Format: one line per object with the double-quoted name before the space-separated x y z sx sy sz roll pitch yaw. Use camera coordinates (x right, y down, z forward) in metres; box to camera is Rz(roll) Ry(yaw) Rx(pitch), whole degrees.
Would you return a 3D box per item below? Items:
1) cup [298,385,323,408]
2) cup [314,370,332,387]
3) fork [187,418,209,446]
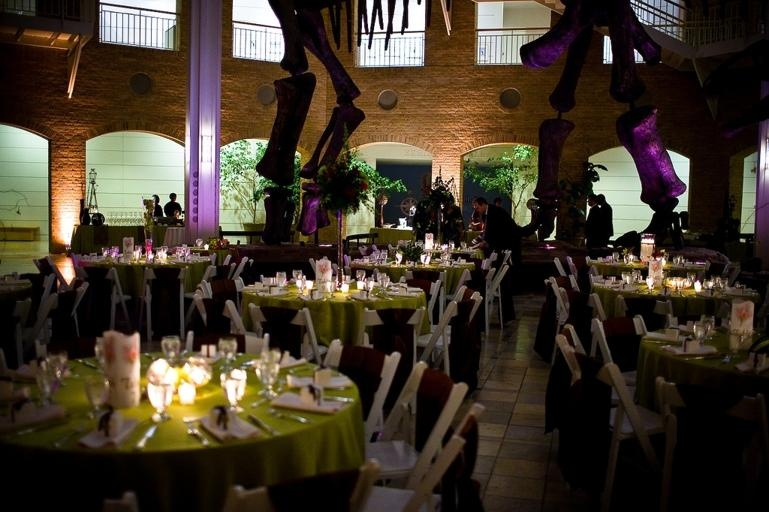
"cup" -0.417 0.776 3.342 0.114 0.115 0.114 0 1 0
"cup" -0.376 0.737 3.601 0.094 0.095 0.095 2 5 0
"fork" -0.969 0.907 3.074 0.065 0.031 0.252 -10 16 -23
